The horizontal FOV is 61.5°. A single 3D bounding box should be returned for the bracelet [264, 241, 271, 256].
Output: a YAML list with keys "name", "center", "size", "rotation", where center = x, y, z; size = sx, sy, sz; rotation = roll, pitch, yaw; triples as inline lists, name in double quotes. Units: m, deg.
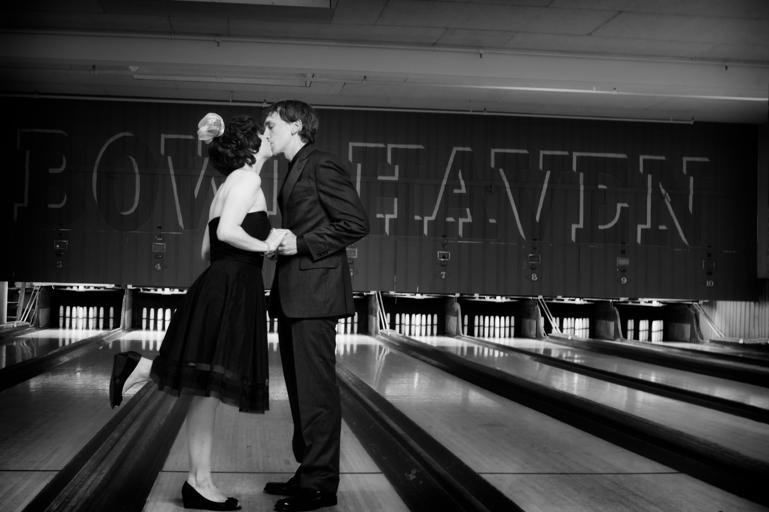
- name: "bracelet"
  center: [-0.730, -0.040, 3.998]
  size: [0.015, 0.062, 0.061]
  rotation: [13, -16, 9]

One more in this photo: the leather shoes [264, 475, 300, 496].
- name: "leather shoes"
  center: [-0.658, 1.452, 4.097]
  size: [0.281, 0.125, 0.107]
  rotation: [2, -14, 14]

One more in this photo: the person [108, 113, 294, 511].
- name: "person"
  center: [-1.095, 0.307, 4.092]
  size: [0.959, 2.391, 0.590]
  rotation: [1, 4, -3]
